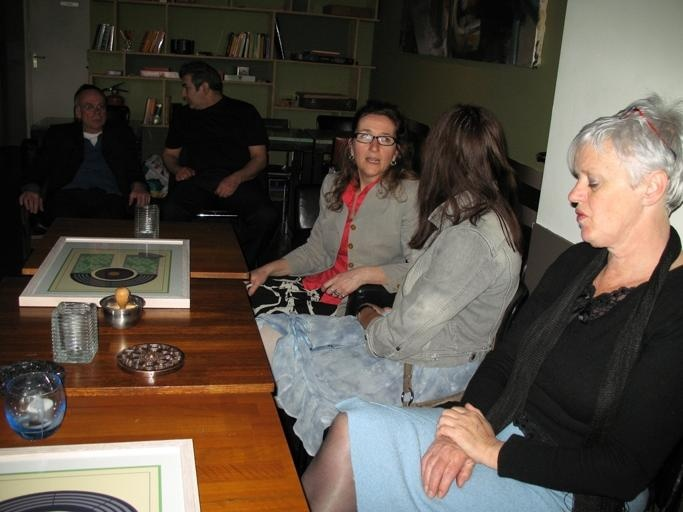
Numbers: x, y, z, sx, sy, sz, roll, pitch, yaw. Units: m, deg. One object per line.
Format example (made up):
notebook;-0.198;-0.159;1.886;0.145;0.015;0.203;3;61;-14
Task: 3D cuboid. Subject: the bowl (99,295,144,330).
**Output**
bowl;-0.742;0.209;1.750;0.137;0.074;0.126;-1;1;0

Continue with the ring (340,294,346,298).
ring;0.007;0.184;2.435;0.014;0.011;0.035;-18;-9;33

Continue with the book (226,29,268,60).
book;-1.258;-2.839;7.030;0.488;0.152;0.438;0;15;-7

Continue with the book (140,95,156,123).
book;-2.586;-1.958;7.008;0.078;0.302;0.287;10;51;-18

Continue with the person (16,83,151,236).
person;-2.098;-0.842;4.189;1.014;1.041;1.027;19;23;41

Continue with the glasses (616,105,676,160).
glasses;0.773;-0.325;1.335;0.073;0.121;0.159;-4;18;-21

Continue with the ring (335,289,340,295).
ring;-0.023;0.167;2.401;0.024;0.021;0.008;-1;14;24
